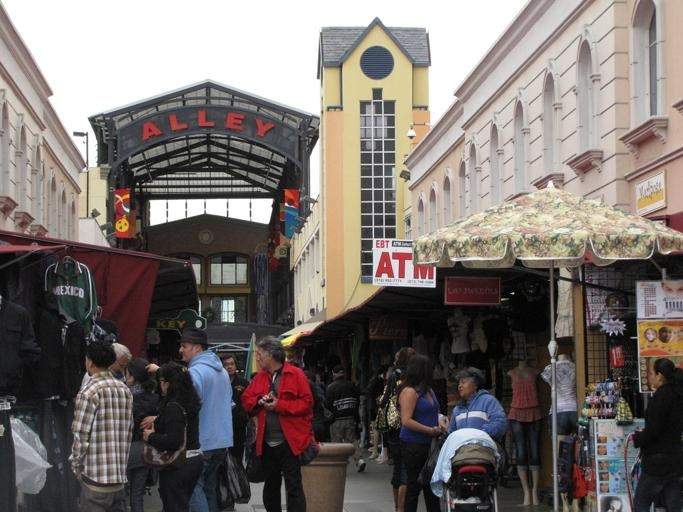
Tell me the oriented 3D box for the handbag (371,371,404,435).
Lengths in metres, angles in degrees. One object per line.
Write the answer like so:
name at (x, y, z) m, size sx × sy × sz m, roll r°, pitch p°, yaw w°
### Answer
handbag at (0.713, 2.057, 13.716) m, size 0.338 × 0.657 × 0.884 m, roll 5°, pitch 18°, yaw -11°

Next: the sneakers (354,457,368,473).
sneakers at (0.378, 3.912, 18.418) m, size 0.106 × 0.346 × 0.147 m, roll 0°, pitch 23°, yaw -12°

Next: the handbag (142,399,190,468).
handbag at (-1.885, 1.916, 10.640) m, size 0.513 × 0.892 × 0.863 m, roll 5°, pitch -9°, yaw -22°

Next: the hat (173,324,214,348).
hat at (-1.651, 0.951, 11.368) m, size 0.357 × 0.147 × 0.263 m, roll 18°, pitch -9°, yaw -27°

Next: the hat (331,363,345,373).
hat at (-0.087, 2.187, 19.416) m, size 0.163 × 0.223 × 0.220 m, roll 3°, pitch 0°, yaw 7°

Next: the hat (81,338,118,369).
hat at (-2.444, 0.968, 10.004) m, size 0.223 × 0.305 × 0.290 m, roll -1°, pitch 10°, yaw -13°
